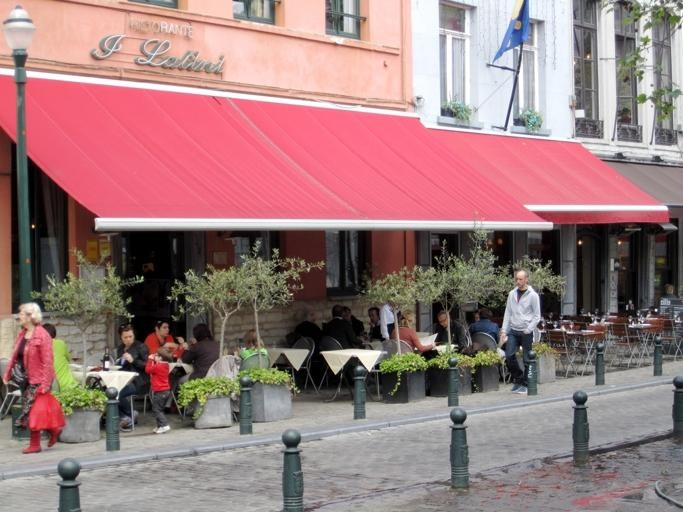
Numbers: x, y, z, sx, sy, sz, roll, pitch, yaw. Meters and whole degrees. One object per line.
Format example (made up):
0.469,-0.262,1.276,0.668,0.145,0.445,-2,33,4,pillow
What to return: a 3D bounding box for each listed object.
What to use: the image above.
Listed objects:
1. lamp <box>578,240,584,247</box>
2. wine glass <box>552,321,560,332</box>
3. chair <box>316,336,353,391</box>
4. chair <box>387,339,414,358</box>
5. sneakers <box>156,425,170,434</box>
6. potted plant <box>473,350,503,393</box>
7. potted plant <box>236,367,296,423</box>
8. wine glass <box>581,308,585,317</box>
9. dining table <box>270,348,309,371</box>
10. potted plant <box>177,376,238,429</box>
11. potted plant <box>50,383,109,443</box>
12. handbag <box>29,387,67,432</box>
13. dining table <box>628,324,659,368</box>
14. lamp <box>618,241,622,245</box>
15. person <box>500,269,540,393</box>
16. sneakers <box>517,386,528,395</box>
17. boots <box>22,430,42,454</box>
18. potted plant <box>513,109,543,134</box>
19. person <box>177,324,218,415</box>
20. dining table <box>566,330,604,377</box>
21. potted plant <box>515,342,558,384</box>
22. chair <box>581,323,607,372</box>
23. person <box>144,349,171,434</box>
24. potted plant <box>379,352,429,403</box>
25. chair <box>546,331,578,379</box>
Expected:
6.633,-0.360,33.466,0.135,0.147,0.074,10,-29,-32,lamp
4.713,1.541,26.476,0.203,0.259,0.232,-1,6,0,wine glass
-0.069,1.955,21.976,0.690,1.025,0.619,-2,-11,36,chair
1.035,1.626,21.974,0.274,0.401,0.366,2,9,13,chair
-2.809,2.740,19.023,0.235,0.125,0.092,3,6,43,sneakers
2.648,2.097,22.418,0.643,0.759,0.486,0,3,-40,potted plant
-1.222,2.337,20.062,0.790,0.903,0.703,-1,-12,-30,potted plant
6.126,1.440,30.584,0.127,0.245,0.144,-1,-4,-4,wine glass
-0.967,1.897,22.459,0.766,0.464,1.198,-6,-4,-4,dining table
-2.077,2.351,19.670,1.052,0.860,0.955,-8,-3,5,potted plant
-4.077,2.390,18.736,0.739,0.984,0.890,-1,1,-25,potted plant
-4.404,2.299,17.950,0.431,0.709,0.684,-6,-6,24,handbag
6.814,2.087,27.336,0.900,1.009,0.952,0,-1,36,dining table
7.845,-0.366,33.960,0.151,0.123,0.088,-3,-9,12,lamp
3.291,1.389,22.068,0.703,1.496,1.338,-5,-4,4,person
3.259,2.421,21.673,0.179,0.094,0.413,-7,-4,7,sneakers
-4.577,2.753,17.818,0.248,0.328,0.284,-4,-4,-12,boots
4.552,-3.285,29.635,0.582,0.657,0.575,6,-7,-40,potted plant
-2.441,1.912,20.405,0.758,1.573,0.636,-2,2,29,person
5.078,2.002,25.488,0.894,0.833,0.930,2,11,-15,dining table
3.664,2.032,23.223,0.882,1.004,0.698,-1,-2,29,potted plant
5.283,2.008,25.614,0.439,0.697,0.573,-8,1,-12,chair
-2.924,2.196,19.308,0.368,1.278,0.675,-4,-4,-11,person
1.137,2.131,21.363,0.802,0.909,0.770,1,-4,-28,potted plant
4.614,2.011,24.526,0.674,1.011,0.637,-4,-4,27,chair
